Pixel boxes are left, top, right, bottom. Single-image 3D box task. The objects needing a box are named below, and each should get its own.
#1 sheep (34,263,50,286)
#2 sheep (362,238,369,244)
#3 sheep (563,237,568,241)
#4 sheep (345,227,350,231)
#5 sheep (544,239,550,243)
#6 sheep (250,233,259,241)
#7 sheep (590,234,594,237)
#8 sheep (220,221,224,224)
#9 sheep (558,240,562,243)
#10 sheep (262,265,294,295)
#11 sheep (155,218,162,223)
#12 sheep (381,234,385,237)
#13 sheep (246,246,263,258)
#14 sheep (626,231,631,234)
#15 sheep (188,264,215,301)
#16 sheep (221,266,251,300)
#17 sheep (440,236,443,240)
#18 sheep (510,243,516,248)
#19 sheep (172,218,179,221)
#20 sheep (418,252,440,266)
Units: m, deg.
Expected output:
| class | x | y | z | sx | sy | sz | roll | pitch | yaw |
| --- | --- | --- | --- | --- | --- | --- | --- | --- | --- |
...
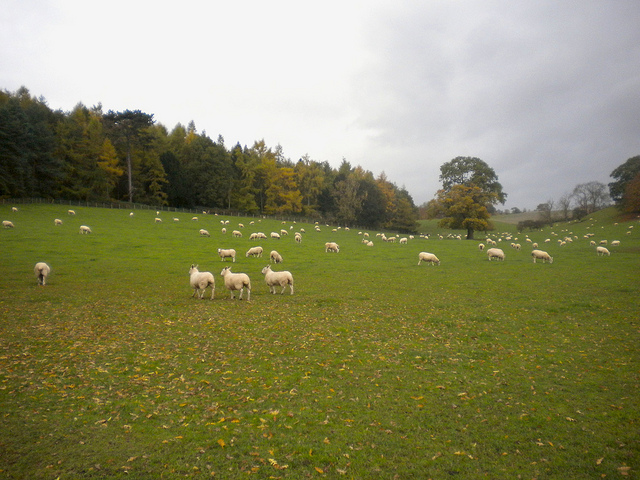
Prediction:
| class | x | y | z | sx | sy | sz | roll | pitch | yaw |
| --- | --- | --- | --- | --- | --- | --- | --- | --- | --- |
| sheep | -19.519 | 2.352 | 33.176 | 0.729 | 1.448 | 1.598 | -4 | 11 | -35 |
| sheep | 6.931 | 0.200 | 72.459 | 0.649 | 1.246 | 1.664 | 0 | 0 | 18 |
| sheep | 38.486 | -0.162 | 74.213 | 0.481 | 0.535 | 0.500 | -1 | 4 | 7 |
| sheep | 5.674 | -2.164 | 98.748 | 0.888 | 0.536 | 0.919 | 4 | 1 | -13 |
| sheep | 35.487 | 0.192 | 73.917 | 0.862 | 0.474 | 0.231 | -17 | 9 | -20 |
| sheep | -9.035 | -0.339 | 64.755 | 0.727 | 1.415 | 2.556 | 2 | 3 | -2 |
| sheep | 42.612 | -0.637 | 74.120 | 0.932 | 0.518 | 0.241 | -17 | 22 | -41 |
| sheep | -16.809 | -2.931 | 81.171 | 0.429 | 0.438 | 0.445 | 1 | -16 | -7 |
| sheep | 35.359 | 0.239 | 69.693 | 0.553 | 0.280 | 0.686 | -5 | -13 | 5 |
| sheep | -3.223 | 2.877 | 34.657 | 2.840 | 2.188 | 0.869 | -1 | -1 | 36 |
| sheep | -24.707 | -2.915 | 72.226 | 0.993 | 0.698 | 1.810 | -1 | 9 | -20 |
| sheep | 11.276 | -0.744 | 85.407 | 0.639 | 0.453 | 0.779 | 3 | 4 | 12 |
| sheep | -6.971 | 1.294 | 49.948 | 1.647 | 0.903 | 1.932 | 0 | 9 | -10 |
| sheep | 45.822 | -1.022 | 70.265 | 0.869 | 0.490 | 0.224 | -19 | 10 | -31 |
| sheep | -8.268 | 2.823 | 32.524 | 0.923 | 2.370 | 3.061 | 5 | -4 | -43 |
| sheep | -5.909 | 2.943 | 32.594 | 2.823 | 2.272 | 0.912 | -3 | -2 | 42 |
| sheep | 24.204 | -0.360 | 94.688 | 0.388 | 0.942 | 1.716 | 5 | 12 | 17 |
| sheep | 26.833 | 0.820 | 65.536 | 0.405 | 0.527 | 0.896 | -1 | 0 | 14 |
| sheep | -23.491 | -3.302 | 76.730 | 0.793 | 0.829 | 0.358 | 4 | 30 | 7 |
| sheep | 11.436 | 2.060 | 49.857 | 2.106 | 1.117 | 2.002 | 8 | 10 | 33 |
